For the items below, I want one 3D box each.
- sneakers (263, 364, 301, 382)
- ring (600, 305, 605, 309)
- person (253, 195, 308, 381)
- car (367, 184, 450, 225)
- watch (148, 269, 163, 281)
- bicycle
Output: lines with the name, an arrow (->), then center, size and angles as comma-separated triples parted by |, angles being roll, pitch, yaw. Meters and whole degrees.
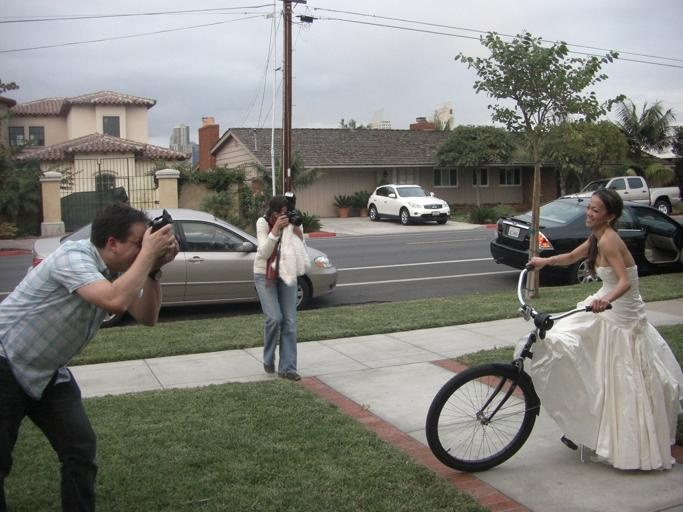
sneakers -> -0.685, 1.359, 7.219 | 0.518, 0.256, 0.166 | -5, -3, 38
ring -> 2.002, 0.404, 4.741 | 0.038, 0.026, 0.012 | -2, 8, -12
person -> -0.737, 0.353, 7.188 | 0.616, 2.076, 0.563 | 2, 8, 13
car -> 3.216, -2.574, 30.658 | 1.856, 1.849, 4.087 | -6, 10, -36
watch -> -1.265, 0.130, 4.165 | 0.090, 0.067, 0.100 | -2, -14, -22
bicycle -> 1.099, 0.979, 5.394 | 1.920, 1.318, 1.001 | 6, 14, -23
